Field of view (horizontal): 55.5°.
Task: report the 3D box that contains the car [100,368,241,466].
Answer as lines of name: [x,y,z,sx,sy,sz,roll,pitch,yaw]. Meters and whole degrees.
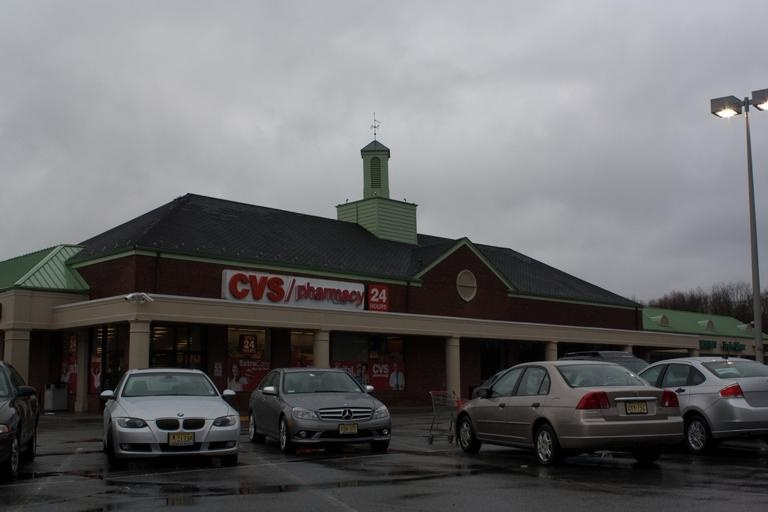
car: [-4.711,3.539,15.890,2.475,1.985,2.780,-1,0,-30]

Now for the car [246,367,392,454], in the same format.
car: [-1.663,3.780,18.309,2.322,1.868,3.530,-1,0,-30]

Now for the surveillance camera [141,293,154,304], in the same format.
surveillance camera: [-9.386,1.683,28.950,0.358,0.255,1.152,-2,-4,-10]

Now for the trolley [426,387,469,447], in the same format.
trolley: [1.966,5.212,24.180,1.549,1.492,0.968,1,-1,-5]
